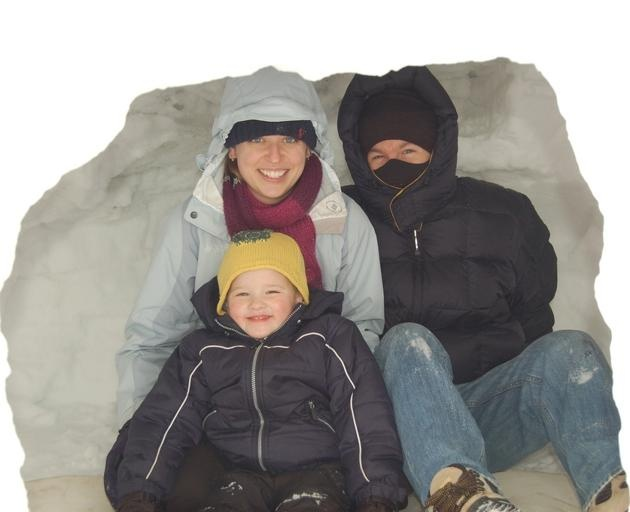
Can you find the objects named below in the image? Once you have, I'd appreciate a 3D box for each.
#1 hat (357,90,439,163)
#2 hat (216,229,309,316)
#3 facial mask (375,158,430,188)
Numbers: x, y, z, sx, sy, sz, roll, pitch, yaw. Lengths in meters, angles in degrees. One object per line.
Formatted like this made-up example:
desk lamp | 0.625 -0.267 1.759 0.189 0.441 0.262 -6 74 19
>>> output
hat | 0.415 -0.663 3.947 0.331 0.345 0.276 -1 6 10
hat | -0.256 0.048 3.522 0.491 0.357 0.440 -8 13 -17
facial mask | 0.443 -0.424 3.939 0.167 0.099 0.176 -5 2 8
